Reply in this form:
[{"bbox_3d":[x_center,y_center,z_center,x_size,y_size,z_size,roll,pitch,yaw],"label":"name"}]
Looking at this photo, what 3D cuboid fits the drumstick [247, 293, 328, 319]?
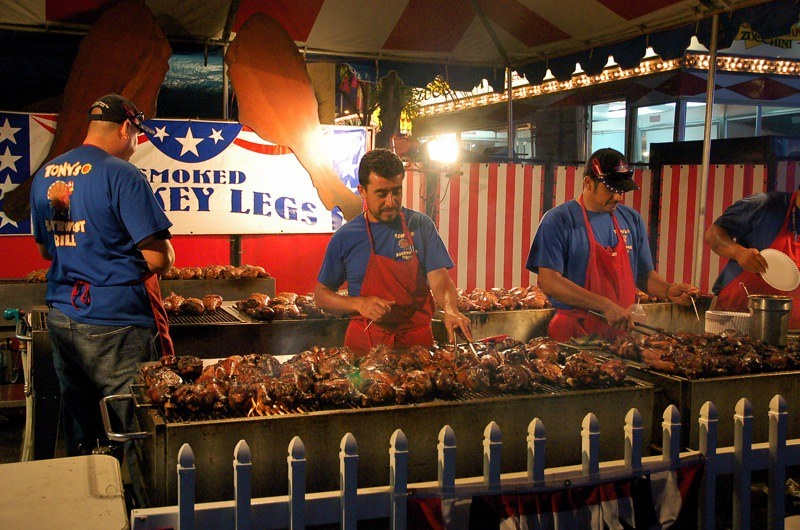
[{"bbox_3d":[-1.251,0.436,8.647,0.730,0.268,0.619,-1,5,-28],"label":"drumstick"}]
